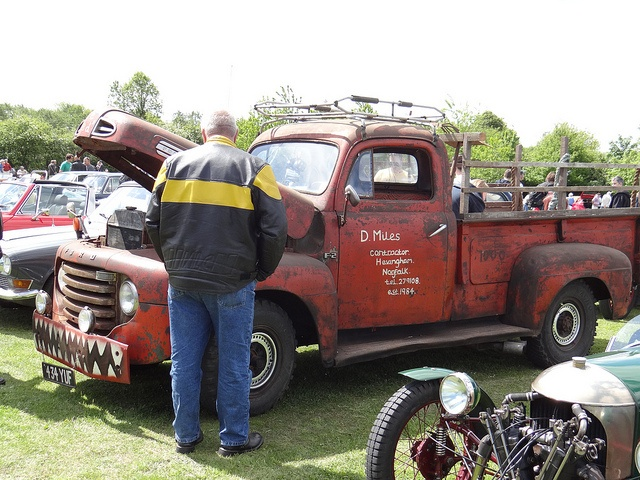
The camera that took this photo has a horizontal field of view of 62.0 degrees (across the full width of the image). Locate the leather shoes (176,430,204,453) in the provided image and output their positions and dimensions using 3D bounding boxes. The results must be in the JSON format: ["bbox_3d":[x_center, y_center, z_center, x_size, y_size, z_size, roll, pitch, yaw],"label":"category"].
[{"bbox_3d":[-0.979,1.535,4.035,0.080,0.104,0.225,3,6,20],"label":"leather shoes"}]

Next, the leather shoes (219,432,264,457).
[{"bbox_3d":[-0.600,1.528,4.063,0.116,0.161,0.336,8,18,42],"label":"leather shoes"}]

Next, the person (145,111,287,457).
[{"bbox_3d":[-0.755,0.451,3.875,0.980,2.289,0.314,2,7,-5],"label":"person"}]
